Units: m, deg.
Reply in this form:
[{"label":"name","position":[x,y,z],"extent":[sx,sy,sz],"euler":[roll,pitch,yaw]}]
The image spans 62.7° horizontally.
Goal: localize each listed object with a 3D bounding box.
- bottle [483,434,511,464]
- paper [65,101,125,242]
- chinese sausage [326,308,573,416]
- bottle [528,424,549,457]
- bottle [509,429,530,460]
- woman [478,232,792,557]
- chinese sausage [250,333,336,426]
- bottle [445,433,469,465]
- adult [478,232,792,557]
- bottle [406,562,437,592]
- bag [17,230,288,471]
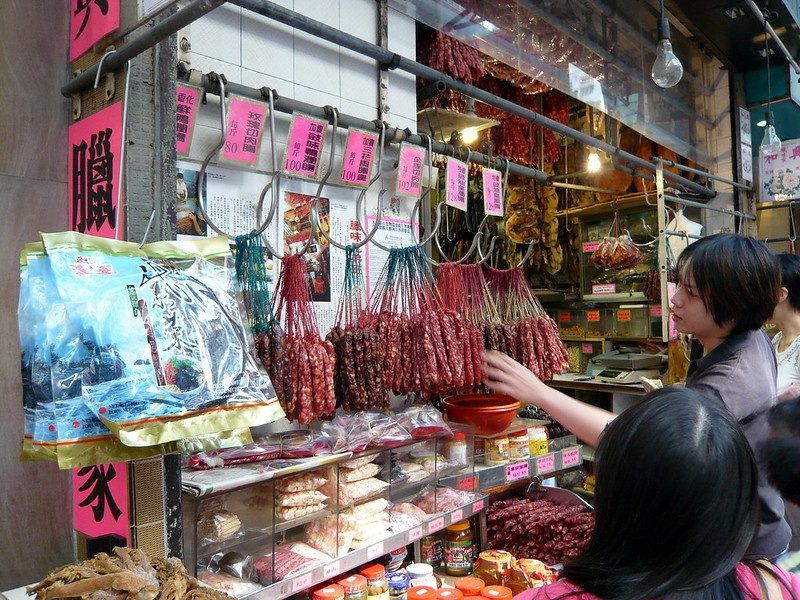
[{"label":"bottle","position":[0.482,0.748,3.321],"extent":[0.125,0.150,0.128],"euler":[3,3,36]},{"label":"paper","position":[-0.921,-0.391,1.991],"extent":[0.427,0.513,0.009],"euler":[-3,-5,44]},{"label":"chinese sausage","position":[0.084,0.220,2.798],"extent":[0.582,0.422,0.199],"euler":[0,-19,-13]},{"label":"bottle","position":[0.727,0.743,3.460],"extent":[0.120,0.145,0.123],"euler":[1,-10,-12]},{"label":"bottle","position":[0.604,0.728,3.352],"extent":[0.127,0.146,0.125],"euler":[1,-2,-45]},{"label":"woman","position":[0.991,0.169,3.132],"extent":[1.235,1.930,0.799],"euler":[3,2,20]},{"label":"chinese sausage","position":[-0.384,0.279,2.482],"extent":[0.320,0.345,0.104],"euler":[-6,0,-39]},{"label":"bottle","position":[0.252,0.677,3.033],"extent":[0.127,0.208,0.134],"euler":[0,0,0]},{"label":"adult","position":[0.947,0.174,3.126],"extent":[1.235,1.930,0.799],"euler":[3,2,20]},{"label":"bottle","position":[0.089,1.165,2.779],"extent":[0.093,0.094,0.094],"euler":[3,-7,-31]},{"label":"bag","position":[-0.703,0.150,1.790],"extent":[0.752,0.754,0.319],"euler":[0,-24,-44]}]
